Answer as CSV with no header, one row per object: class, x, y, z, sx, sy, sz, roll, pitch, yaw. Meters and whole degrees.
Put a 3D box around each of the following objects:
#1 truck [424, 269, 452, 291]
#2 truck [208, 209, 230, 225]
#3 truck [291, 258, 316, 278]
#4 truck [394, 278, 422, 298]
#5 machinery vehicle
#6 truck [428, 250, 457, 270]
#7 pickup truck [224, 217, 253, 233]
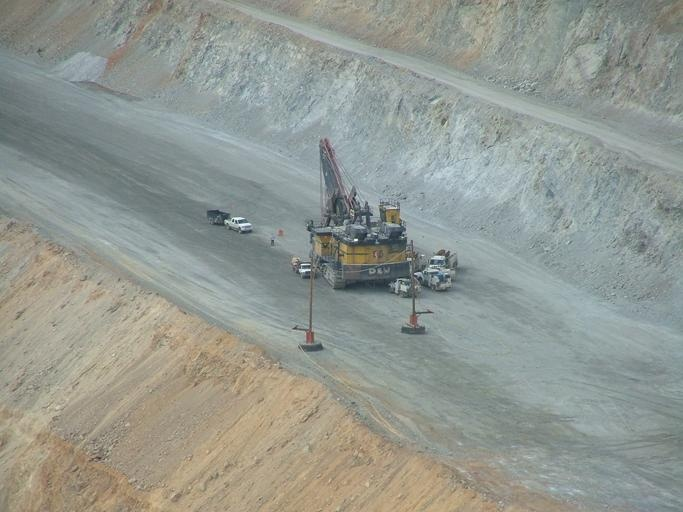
truck,7.436,1.928,74.833,1.211,1.863,0.938,-3,97,-26
truck,-11.183,-3.382,85.970,1.148,1.046,1.967,-17,23,-41
truck,-3.152,0.874,76.225,1.290,2.312,1.029,-4,106,-18
truck,4.722,2.362,73.074,1.261,0.815,1.776,-4,26,-18
machinery vehicle,1.937,-3.123,80.287,6.845,9.283,13.984,-6,20,-16
truck,8.184,0.358,77.313,1.346,2.235,1.119,1,96,15
pickup truck,-9.216,-2.669,84.467,2.060,1.292,0.842,14,110,43
